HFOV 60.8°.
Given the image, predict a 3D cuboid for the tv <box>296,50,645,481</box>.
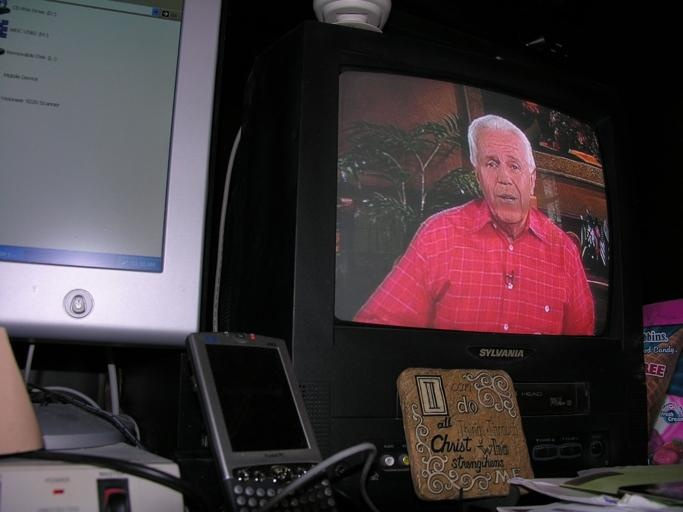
[{"bbox_3d":[0.237,0.070,1.354,0.769,0.895,0.477,3,-4,-12],"label":"tv"}]
